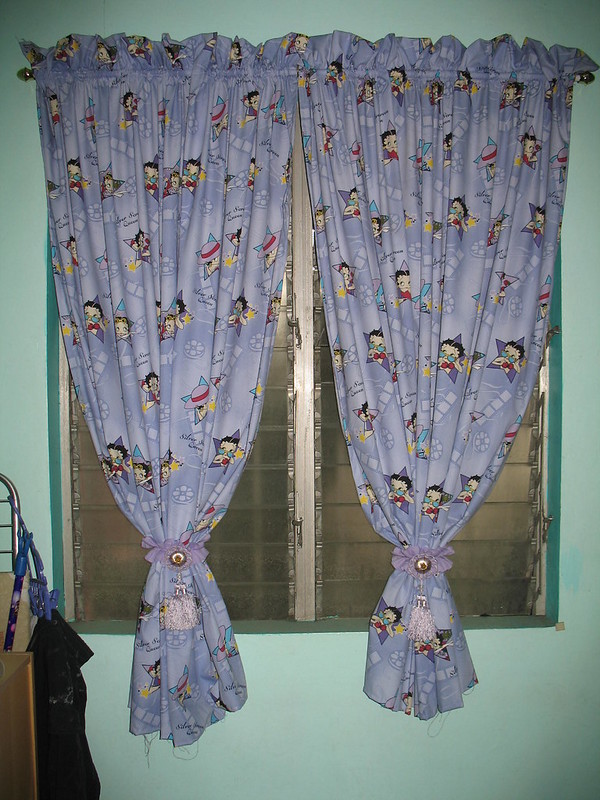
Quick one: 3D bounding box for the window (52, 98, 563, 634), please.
[{"bbox_3d":[-0.007,-0.161,2.493,1.882,1.538,0.133,0,4,-3],"label":"window"}]
